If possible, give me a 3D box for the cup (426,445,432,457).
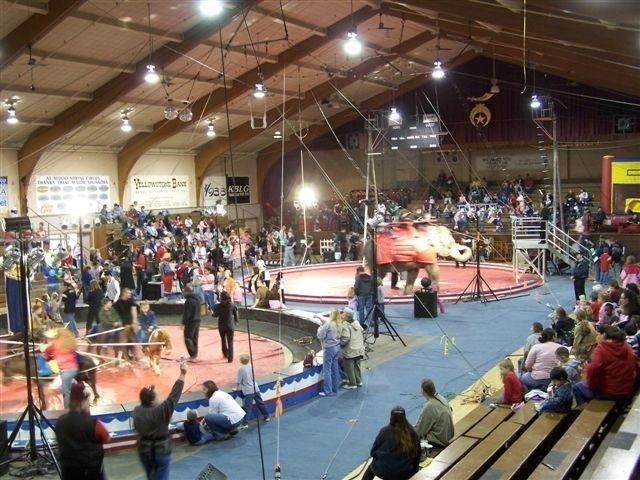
[{"bbox_3d":[1.652,3.179,8.636,0.103,0.153,0.112,0,9,0],"label":"cup"}]

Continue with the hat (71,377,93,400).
[{"bbox_3d":[-3.027,1.905,7.179,0.216,0.259,0.319,-5,2,-22],"label":"hat"}]

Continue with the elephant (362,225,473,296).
[{"bbox_3d":[1.789,0.382,10.925,1.447,0.993,1.941,-5,2,-5],"label":"elephant"}]

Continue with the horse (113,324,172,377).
[{"bbox_3d":[-4.183,2.400,13.132,1.951,1.310,0.562,8,11,35],"label":"horse"}]
